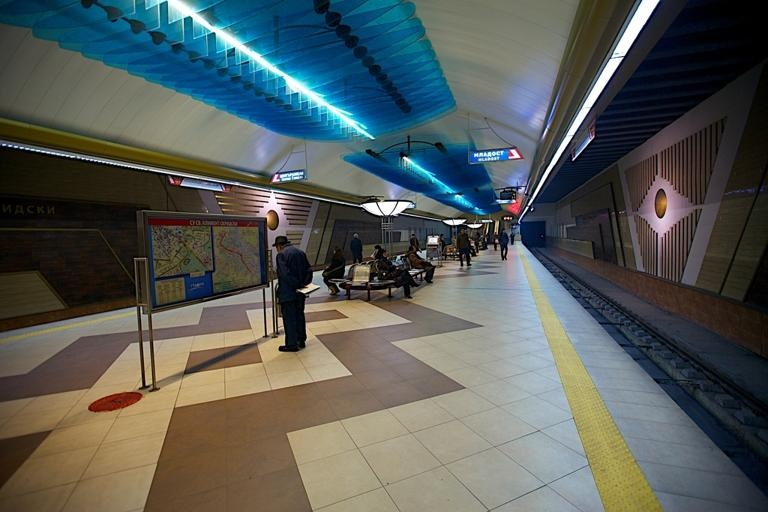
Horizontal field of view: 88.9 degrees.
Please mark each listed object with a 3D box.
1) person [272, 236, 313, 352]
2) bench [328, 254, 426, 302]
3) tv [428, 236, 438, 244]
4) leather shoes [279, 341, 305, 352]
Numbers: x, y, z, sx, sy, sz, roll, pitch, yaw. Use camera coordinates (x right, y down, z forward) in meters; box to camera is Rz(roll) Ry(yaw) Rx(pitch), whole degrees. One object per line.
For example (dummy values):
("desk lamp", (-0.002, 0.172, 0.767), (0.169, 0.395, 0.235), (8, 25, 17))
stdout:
("person", (-1.706, 0.668, 7.312), (0.568, 2.086, 0.639), (-1, 7, 3))
("bench", (-0.188, 0.633, 11.540), (2.068, 1.221, 1.230), (-1, 7, -4))
("tv", (2.978, -0.999, 23.619), (0.774, 0.490, 0.520), (3, -5, 18))
("leather shoes", (-1.695, 1.652, 7.243), (0.457, 0.182, 0.175), (1, -3, 4))
